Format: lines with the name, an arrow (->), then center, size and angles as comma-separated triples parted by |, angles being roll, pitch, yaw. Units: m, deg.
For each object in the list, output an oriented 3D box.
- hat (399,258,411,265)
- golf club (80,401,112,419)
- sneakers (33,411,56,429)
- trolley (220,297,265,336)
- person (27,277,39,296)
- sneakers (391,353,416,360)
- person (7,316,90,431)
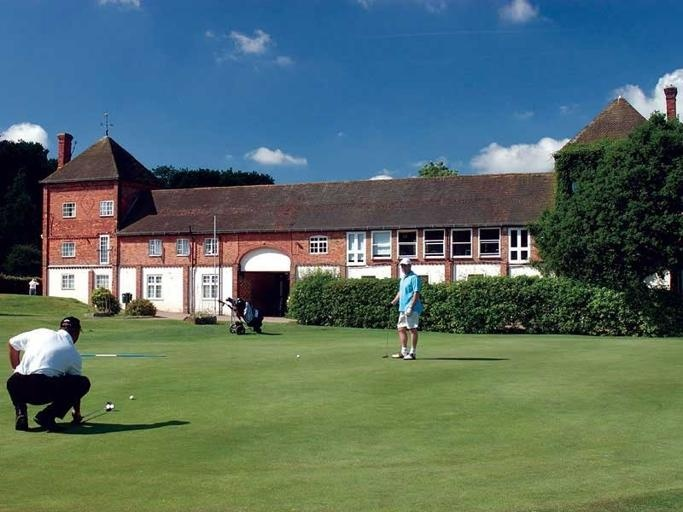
hat -> 1.570, 0.110, 27.642 | 0.161, 0.107, 0.227 | -4, -7, 32
golf club -> -4.729, 3.036, 22.118 | 0.635, 0.123, 0.209 | -24, 29, -8
sneakers -> -5.588, 3.082, 21.384 | 0.439, 0.260, 0.174 | 31, -5, 6
trolley -> -3.393, 2.014, 38.955 | 1.412, 1.059, 0.934 | -3, 7, -14
person -> -18.008, 1.774, 66.388 | 0.933, 1.281, 0.864 | 0, -5, -17
sneakers -> 1.528, 2.471, 28.208 | 0.572, 0.220, 0.208 | 2, -5, 26
person -> -5.567, 2.219, 21.556 | 1.417, 1.985, 0.734 | -2, 7, -15
